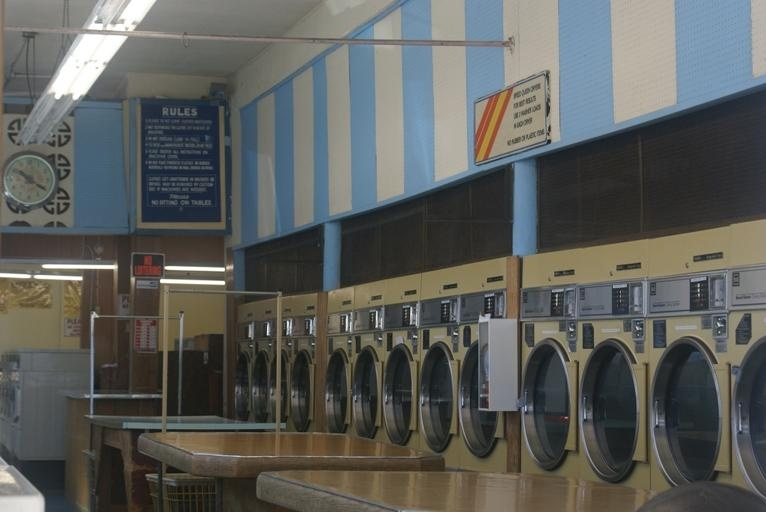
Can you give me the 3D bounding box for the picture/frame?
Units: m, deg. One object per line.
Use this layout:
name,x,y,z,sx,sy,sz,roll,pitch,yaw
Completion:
picture/frame,1.189,-1.225,8.037,0.106,0.620,0.808,5,-10,-29
